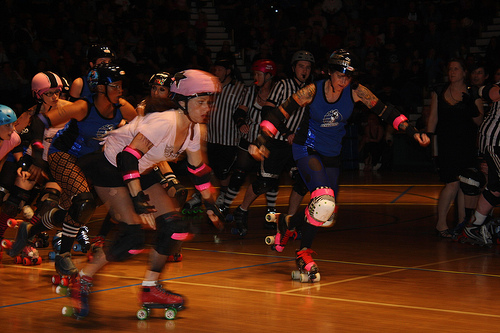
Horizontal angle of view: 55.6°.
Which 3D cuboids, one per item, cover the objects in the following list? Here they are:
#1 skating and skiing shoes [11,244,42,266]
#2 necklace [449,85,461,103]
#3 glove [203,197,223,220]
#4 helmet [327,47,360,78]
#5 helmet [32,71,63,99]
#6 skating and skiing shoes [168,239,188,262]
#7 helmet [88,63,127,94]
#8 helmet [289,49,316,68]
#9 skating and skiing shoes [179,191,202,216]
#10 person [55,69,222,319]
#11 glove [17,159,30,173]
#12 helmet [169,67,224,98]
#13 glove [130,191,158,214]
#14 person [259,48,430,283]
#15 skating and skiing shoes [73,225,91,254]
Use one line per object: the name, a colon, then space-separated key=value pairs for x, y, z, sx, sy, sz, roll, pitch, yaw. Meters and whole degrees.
skating and skiing shoes: x=-2.645 y=1.065 z=5.678 sx=0.190 sy=0.175 sz=0.325 roll=4 pitch=-3 yaw=-40
necklace: x=2.815 y=-1.001 z=6.506 sx=0.179 sy=0.147 sz=0.271 roll=-6 pitch=43 yaw=11
glove: x=-0.357 y=0.396 z=4.489 sx=0.098 sy=0.262 sz=0.103 roll=-34 pitch=5 yaw=-5
helmet: x=0.949 y=-1.080 z=4.935 sx=0.267 sy=0.250 sz=0.295 roll=5 pitch=25 yaw=-8
helmet: x=-2.390 y=-0.974 z=5.557 sx=0.338 sy=0.265 sz=0.311 roll=5 pitch=22 yaw=8
skating and skiing shoes: x=-0.902 y=0.993 z=5.495 sx=0.243 sy=0.228 sz=0.116 roll=3 pitch=6 yaw=-36
helmet: x=-1.356 y=-0.858 z=4.585 sx=0.327 sy=0.251 sz=0.243 roll=-25 pitch=7 yaw=12
helmet: x=0.730 y=-1.527 z=6.735 sx=0.212 sy=0.207 sz=0.278 roll=-5 pitch=-10 yaw=-43
skating and skiing shoes: x=-0.529 y=0.328 z=4.659 sx=0.213 sy=0.256 sz=0.588 roll=13 pitch=-2 yaw=-6
person: x=-0.899 y=0.269 z=4.221 sx=0.965 sy=2.135 sz=1.437 roll=9 pitch=20 yaw=39
glove: x=-2.487 y=-0.007 z=5.227 sx=0.116 sy=0.141 sz=0.133 roll=4 pitch=6 yaw=-23
helmet: x=-0.477 y=-0.727 z=4.084 sx=0.366 sy=0.179 sz=0.247 roll=-3 pitch=14 yaw=-2
glove: x=-0.868 y=0.300 z=3.865 sx=0.166 sy=0.184 sz=0.128 roll=-8 pitch=16 yaw=-15
person: x=0.797 y=-0.064 z=5.158 sx=1.579 sy=2.308 sz=0.737 roll=-14 pitch=18 yaw=-31
skating and skiing shoes: x=-2.129 y=0.907 z=6.002 sx=0.173 sy=0.214 sz=0.507 roll=16 pitch=9 yaw=-32
